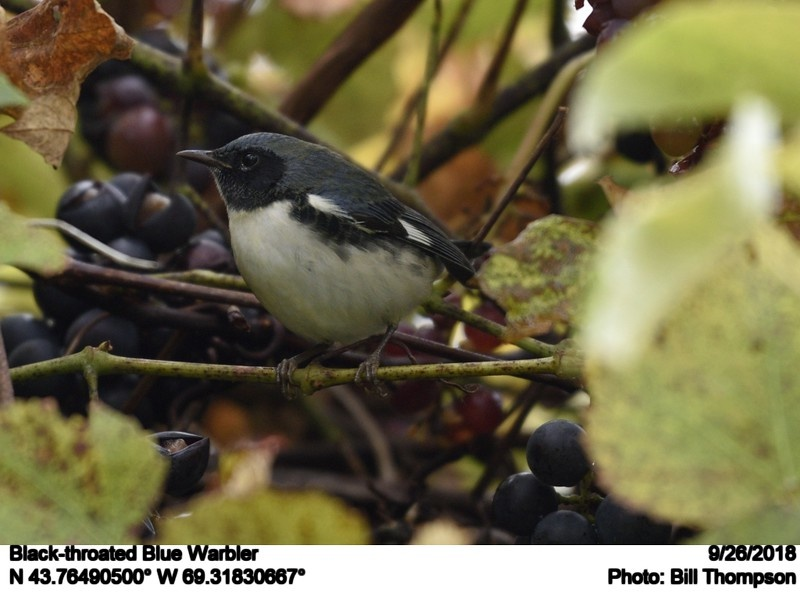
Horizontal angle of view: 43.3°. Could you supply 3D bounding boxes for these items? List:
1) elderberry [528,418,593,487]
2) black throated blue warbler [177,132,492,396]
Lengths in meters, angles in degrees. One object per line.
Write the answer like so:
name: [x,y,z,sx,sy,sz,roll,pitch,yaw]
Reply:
elderberry: [0.202,0.193,1.278,0.084,0.085,0.079,1,9,10]
black throated blue warbler: [-0.081,-0.066,1.496,0.246,0.439,0.318,-1,5,-33]
